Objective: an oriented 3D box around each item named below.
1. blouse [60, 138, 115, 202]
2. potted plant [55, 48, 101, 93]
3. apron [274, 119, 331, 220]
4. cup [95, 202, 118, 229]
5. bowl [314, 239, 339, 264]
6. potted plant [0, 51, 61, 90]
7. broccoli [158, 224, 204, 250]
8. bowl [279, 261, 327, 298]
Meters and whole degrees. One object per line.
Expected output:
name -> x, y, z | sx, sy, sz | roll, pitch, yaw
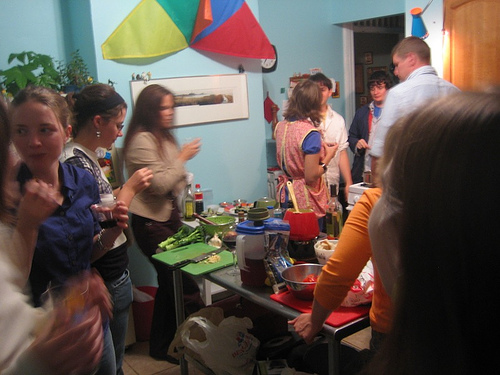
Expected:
blouse -> -0.818, -0.114, 1.889 | 0.251, 0.343, 0.273 | -4, 17, -20
potted plant -> -1.451, -0.903, 3.037 | 0.247, 0.333, 0.249 | 0, 6, 40
apron -> 0.444, -0.211, 3.419 | 0.455, 0.895, 0.444 | 0, 19, 1
cup -> -0.652, 0.123, 1.694 | 0.096, 0.109, 0.102 | -8, 0, 0
bowl -> 0.357, 0.314, 1.816 | 0.104, 0.074, 0.110 | -5, 17, 1
potted plant -> -1.804, -0.983, 3.095 | 0.389, 0.359, 0.829 | -9, 13, -25
broccoli -> -0.435, 0.353, 2.388 | 0.144, 0.108, 0.208 | 27, 42, 34
bowl -> 0.232, 0.389, 1.664 | 0.190, 0.084, 0.193 | -5, 10, 1
